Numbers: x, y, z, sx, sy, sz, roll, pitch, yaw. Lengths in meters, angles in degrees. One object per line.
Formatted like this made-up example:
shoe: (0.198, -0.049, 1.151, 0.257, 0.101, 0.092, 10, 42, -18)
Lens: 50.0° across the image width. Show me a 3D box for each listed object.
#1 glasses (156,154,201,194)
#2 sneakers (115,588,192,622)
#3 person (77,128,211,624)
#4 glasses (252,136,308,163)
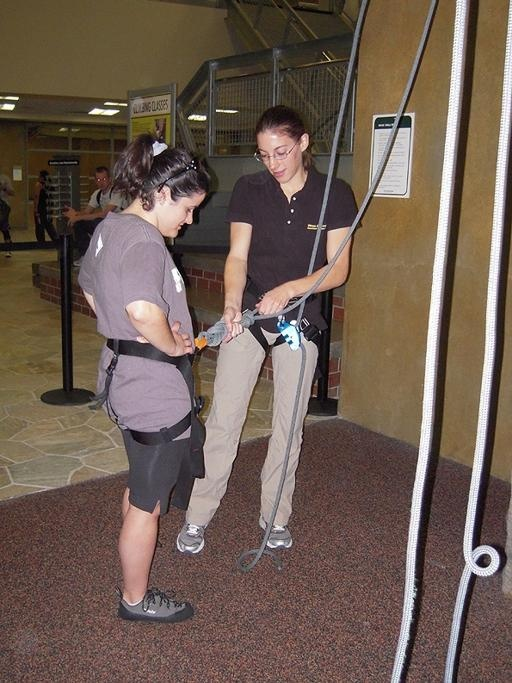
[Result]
glasses: (-0.190, -0.407, 1.323, 0.026, 0.086, 0.086, 43, 31, 5)
sneakers: (-0.307, 0.783, 1.685, 0.232, 0.102, 0.090, 3, 7, -12)
person: (-0.271, 0.172, 1.502, 0.329, 1.399, 0.395, -5, 13, -34)
glasses: (0.083, -0.619, 1.761, 0.083, 0.028, 0.087, -3, 33, 37)
